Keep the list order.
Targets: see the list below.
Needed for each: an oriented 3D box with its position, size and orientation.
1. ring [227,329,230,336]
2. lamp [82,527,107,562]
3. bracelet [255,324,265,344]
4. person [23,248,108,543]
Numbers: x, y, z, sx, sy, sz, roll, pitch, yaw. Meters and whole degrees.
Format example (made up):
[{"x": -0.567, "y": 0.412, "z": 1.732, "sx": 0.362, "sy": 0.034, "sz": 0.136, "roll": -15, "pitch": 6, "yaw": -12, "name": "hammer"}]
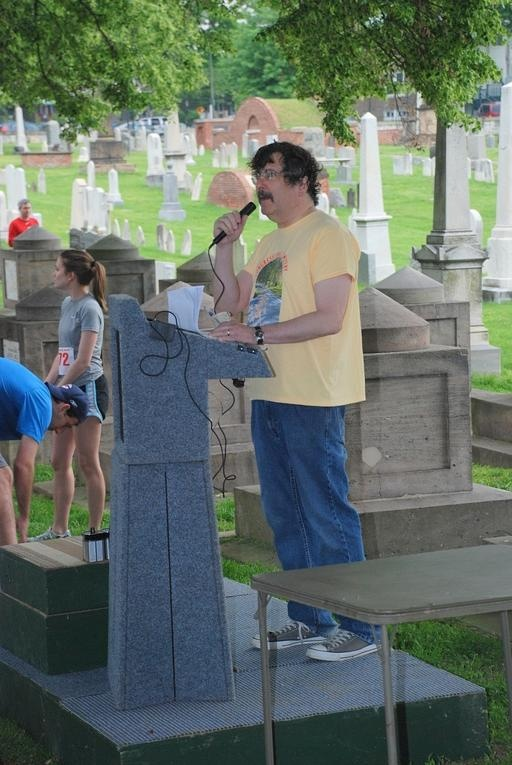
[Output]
[{"x": -0.084, "y": -0.154, "z": 3.049, "sx": 0.007, "sy": 0.017, "sz": 0.013, "roll": 0, "pitch": -1, "yaw": -10, "name": "ring"}, {"x": -0.567, "y": 0.577, "z": 3.457, "sx": 0.124, "sy": 0.101, "sz": 0.068, "roll": 1, "pitch": 2, "yaw": -40, "name": "lamp"}, {"x": 0.009, "y": -0.147, "z": 3.068, "sx": 0.027, "sy": 0.057, "sz": 0.044, "roll": 1, "pitch": 6, "yaw": 18, "name": "bracelet"}, {"x": -1.167, "y": 0.090, "z": 5.958, "sx": 0.634, "sy": 1.731, "sz": 0.542, "roll": 1, "pitch": -3, "yaw": -39, "name": "person"}]
